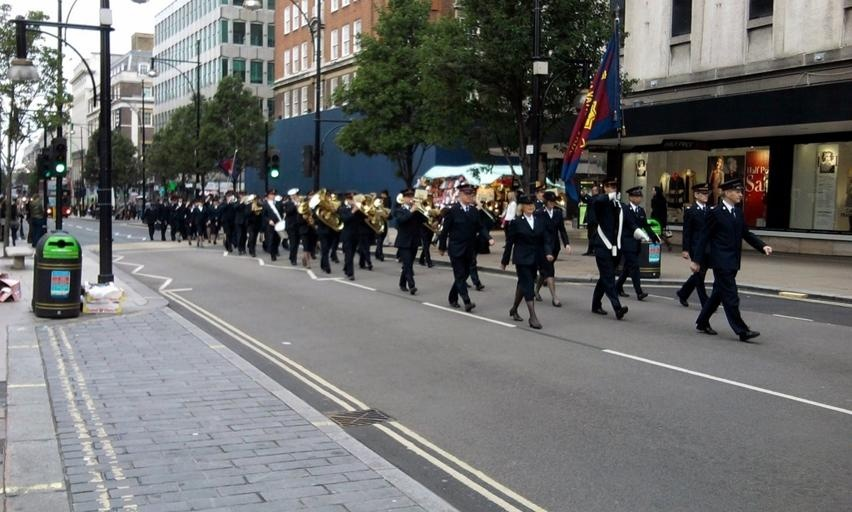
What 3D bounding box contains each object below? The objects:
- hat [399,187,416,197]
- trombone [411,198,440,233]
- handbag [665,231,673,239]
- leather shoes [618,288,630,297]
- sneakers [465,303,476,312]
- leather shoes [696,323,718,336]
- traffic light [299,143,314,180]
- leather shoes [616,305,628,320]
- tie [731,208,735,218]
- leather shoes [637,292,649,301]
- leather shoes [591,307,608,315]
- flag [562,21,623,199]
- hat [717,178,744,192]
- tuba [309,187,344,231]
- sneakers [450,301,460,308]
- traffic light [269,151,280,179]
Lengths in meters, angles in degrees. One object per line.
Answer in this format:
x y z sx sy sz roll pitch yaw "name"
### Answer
-0.516 -1.744 24.138 0.382 0.217 0.400 -1 -1 -28 "hat"
0.072 -1.204 26.960 0.545 0.591 1.063 11 40 -19 "trombone"
8.355 -0.746 30.258 0.301 0.195 0.556 -2 0 9 "handbag"
4.890 0.885 21.537 0.394 0.170 0.127 3 7 12 "leather shoes"
1.002 1.113 19.455 0.110 0.219 0.324 9 -23 -41 "sneakers"
5.598 1.458 17.562 0.471 0.202 0.160 3 1 22 "leather shoes"
-4.903 -3.913 36.196 0.409 1.222 0.709 0 6 -16 "traffic light"
4.132 1.227 18.687 0.148 0.445 0.189 5 49 -12 "leather shoes"
6.003 -0.849 17.208 0.124 0.177 0.043 -3 -3 1 "tie"
5.130 0.937 20.866 0.123 0.152 0.338 -12 -10 -33 "leather shoes"
3.811 1.192 19.307 0.333 0.134 0.134 3 4 28 "leather shoes"
5.057 -4.393 26.685 1.598 5.333 2.138 2 6 10 "flag"
5.974 -1.396 17.266 0.390 0.233 0.402 3 6 13 "hat"
-3.079 -1.382 26.909 1.349 0.780 0.758 40 25 -24 "tuba"
0.667 1.087 19.981 0.241 0.110 0.093 -1 -1 40 "sneakers"
-6.379 -3.807 36.699 0.330 0.992 0.674 -1 6 -17 "traffic light"
